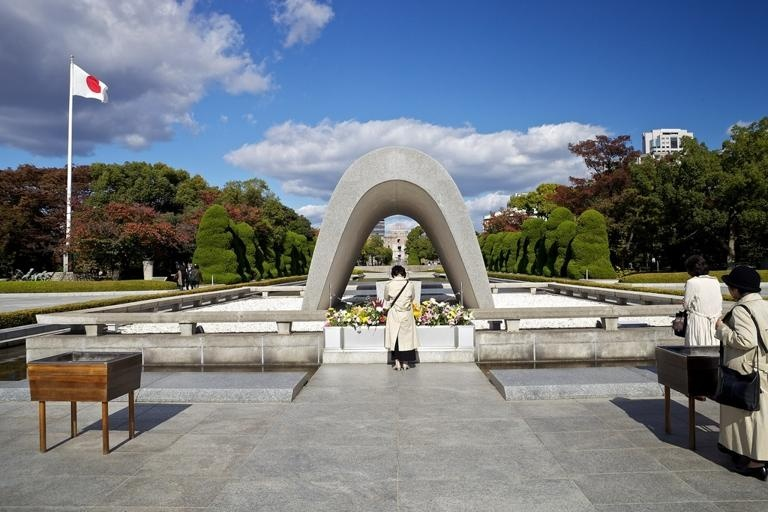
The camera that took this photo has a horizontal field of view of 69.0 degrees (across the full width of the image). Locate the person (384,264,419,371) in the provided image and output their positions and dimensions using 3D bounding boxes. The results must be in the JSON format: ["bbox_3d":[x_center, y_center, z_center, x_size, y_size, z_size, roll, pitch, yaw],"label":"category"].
[{"bbox_3d":[0.267,0.919,8.401,0.498,1.609,0.588,-1,15,1],"label":"person"}]

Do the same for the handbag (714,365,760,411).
[{"bbox_3d":[3.429,1.267,5.399,0.195,0.421,0.455,12,-9,-35],"label":"handbag"}]
